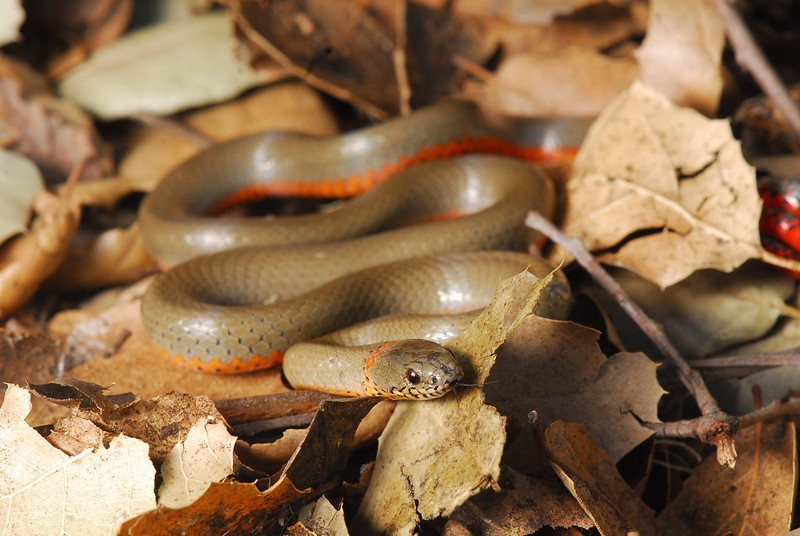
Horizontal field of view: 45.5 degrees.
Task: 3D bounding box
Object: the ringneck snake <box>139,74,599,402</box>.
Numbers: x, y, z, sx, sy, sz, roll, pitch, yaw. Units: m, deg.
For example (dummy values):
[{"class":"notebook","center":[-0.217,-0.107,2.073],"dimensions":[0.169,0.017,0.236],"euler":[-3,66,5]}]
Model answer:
[{"class":"ringneck snake","center":[-0.080,-0.061,2.407],"dimensions":[0.980,0.262,0.580],"euler":[-20,45,-8]}]
